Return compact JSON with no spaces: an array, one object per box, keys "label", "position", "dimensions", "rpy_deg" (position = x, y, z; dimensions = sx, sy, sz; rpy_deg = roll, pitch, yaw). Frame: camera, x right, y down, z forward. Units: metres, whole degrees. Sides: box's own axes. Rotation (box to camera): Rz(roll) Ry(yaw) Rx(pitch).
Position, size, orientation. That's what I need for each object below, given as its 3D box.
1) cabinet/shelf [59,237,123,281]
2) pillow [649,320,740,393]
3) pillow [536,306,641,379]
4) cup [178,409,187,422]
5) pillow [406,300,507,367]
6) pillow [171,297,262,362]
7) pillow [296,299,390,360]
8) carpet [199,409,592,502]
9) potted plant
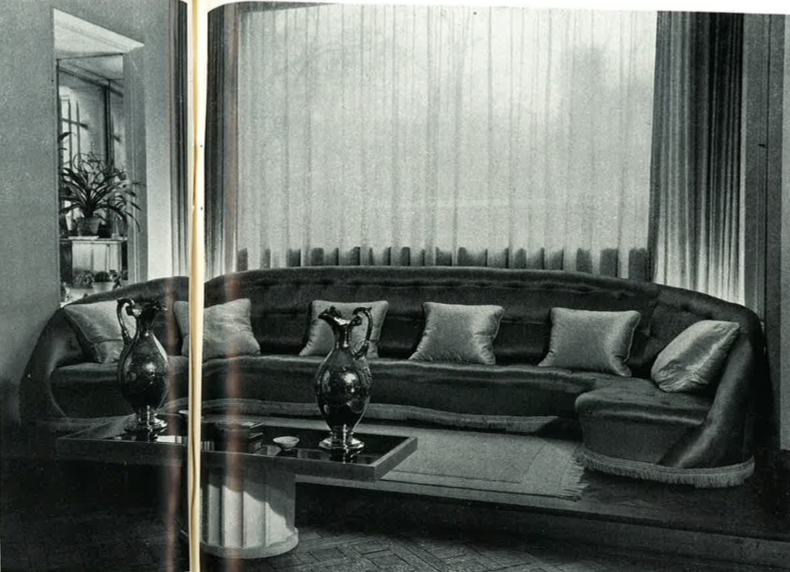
[{"label":"cabinet/shelf","position":[-0.815,-0.060,2.438],"dimensions":[0.170,0.120,0.090],"rpy_deg":[-2,-5,4]},{"label":"pillow","position":[0.840,0.209,2.436],"dimensions":[0.068,0.206,0.218],"rpy_deg":[33,-5,-35]},{"label":"pillow","position":[0.539,0.156,2.439],"dimensions":[0.259,0.173,0.117],"rpy_deg":[5,5,31]},{"label":"cup","position":[-0.611,0.373,2.541],"dimensions":[0.027,0.024,0.027],"rpy_deg":[-3,-12,-1]},{"label":"pillow","position":[0.176,0.135,2.410],"dimensions":[0.230,0.170,0.072],"rpy_deg":[0,-5,9]},{"label":"pillow","position":[-0.476,0.127,2.504],"dimensions":[0.211,0.193,0.062],"rpy_deg":[-7,10,17]},{"label":"pillow","position":[-0.141,0.127,2.469],"dimensions":[0.243,0.169,0.093],"rpy_deg":[1,-7,15]},{"label":"carpet","position":[0.247,0.507,2.477],"dimensions":[0.757,0.211,0.018],"rpy_deg":[5,-15,4]},{"label":"potted plant","position":[-0.762,-0.240,2.296],"dimensions":[0.212,0.166,0.206],"rpy_deg":[-2,6,-23]}]
